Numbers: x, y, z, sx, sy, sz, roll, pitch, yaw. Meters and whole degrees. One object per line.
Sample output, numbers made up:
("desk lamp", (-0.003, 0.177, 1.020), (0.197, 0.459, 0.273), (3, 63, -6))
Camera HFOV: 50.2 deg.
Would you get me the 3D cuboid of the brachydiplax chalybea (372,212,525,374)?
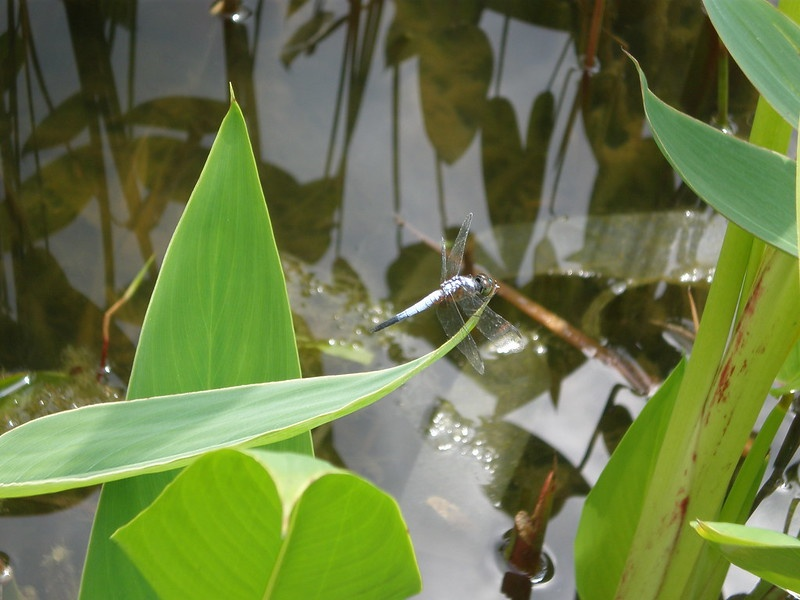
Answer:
("brachydiplax chalybea", (0.049, 0.029, 0.835), (0.115, 0.053, 0.204), (-20, 60, -6))
